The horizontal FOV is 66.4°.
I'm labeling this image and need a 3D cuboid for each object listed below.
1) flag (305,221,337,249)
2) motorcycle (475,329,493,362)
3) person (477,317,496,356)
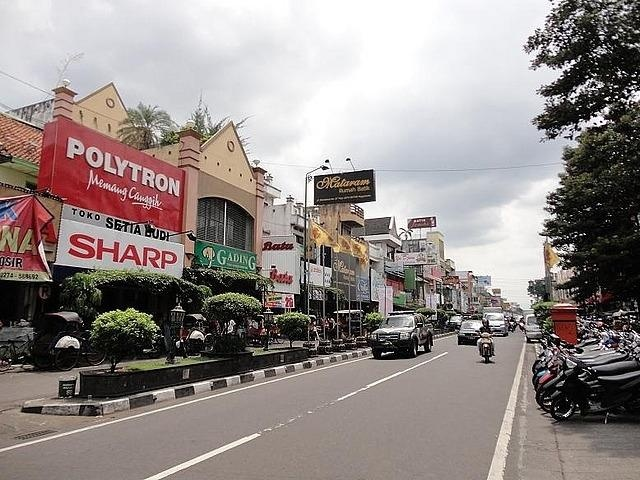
[{"bbox_3d":[0.069,-0.133,30.706,1.286,1.194,1.989,1,-33,30],"label":"flag"},{"bbox_3d":[7.264,4.707,21.231,0.722,0.990,1.612,-2,-21,8],"label":"motorcycle"},{"bbox_3d":[7.284,4.293,21.297,0.917,1.253,2.049,-5,10,23],"label":"person"}]
